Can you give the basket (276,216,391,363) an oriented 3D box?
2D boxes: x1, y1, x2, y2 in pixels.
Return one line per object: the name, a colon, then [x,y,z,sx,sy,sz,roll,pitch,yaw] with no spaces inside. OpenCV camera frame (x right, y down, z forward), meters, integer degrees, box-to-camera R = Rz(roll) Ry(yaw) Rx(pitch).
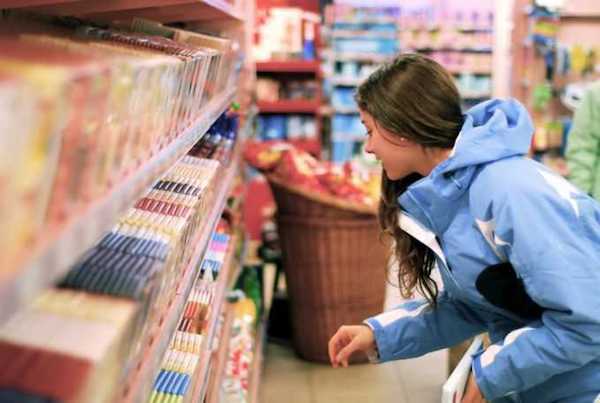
basket: [0.165,0.468,3.095,0.737,0.818,0.740,-3,5,-15]
